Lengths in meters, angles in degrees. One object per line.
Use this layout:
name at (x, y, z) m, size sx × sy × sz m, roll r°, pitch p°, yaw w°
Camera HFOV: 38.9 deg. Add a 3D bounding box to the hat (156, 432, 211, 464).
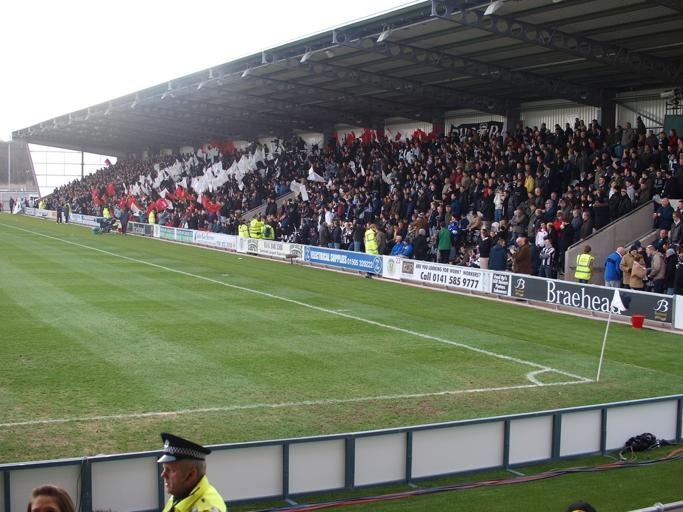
hat at (-2.131, 2.788, 13.548) m, size 0.633 × 0.291 × 0.558 m, roll 12°, pitch -18°, yaw -33°
